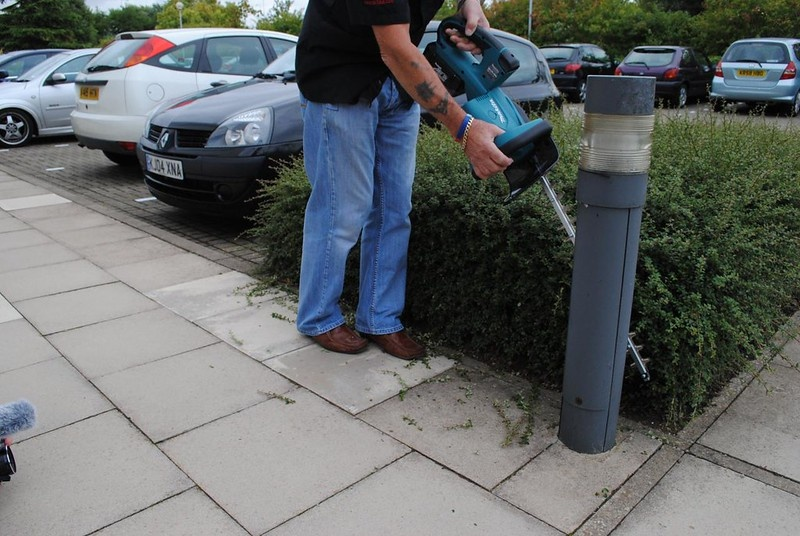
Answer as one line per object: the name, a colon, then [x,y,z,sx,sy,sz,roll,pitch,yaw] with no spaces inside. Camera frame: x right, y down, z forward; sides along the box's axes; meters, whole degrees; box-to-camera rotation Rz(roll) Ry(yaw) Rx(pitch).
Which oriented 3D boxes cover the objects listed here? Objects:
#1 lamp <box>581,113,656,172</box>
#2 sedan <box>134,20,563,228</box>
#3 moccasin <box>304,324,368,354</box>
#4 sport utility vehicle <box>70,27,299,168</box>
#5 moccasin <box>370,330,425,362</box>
lamp: [0.924,-0.556,2.446,0.266,0.248,0.267,-8,17,-35]
sedan: [-0.415,-1.668,6.355,4.520,1.598,2.174,-15,29,-34]
moccasin: [-0.370,0.436,3.494,0.298,0.111,0.159,10,21,17]
sport utility vehicle: [-2.875,-2.578,7.867,2.999,1.118,1.644,-21,29,-35]
moccasin: [-0.020,0.473,3.505,0.342,0.127,0.146,15,20,29]
